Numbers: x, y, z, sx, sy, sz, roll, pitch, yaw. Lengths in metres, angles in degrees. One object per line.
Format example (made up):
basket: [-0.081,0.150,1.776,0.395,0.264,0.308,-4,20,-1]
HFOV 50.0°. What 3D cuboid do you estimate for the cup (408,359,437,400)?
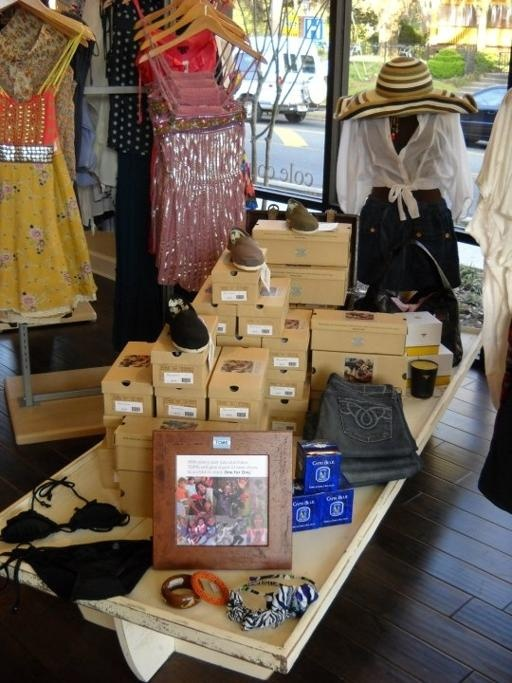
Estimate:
cup: [0.579,0.139,1.986,0.121,0.131,0.122,0,22,0]

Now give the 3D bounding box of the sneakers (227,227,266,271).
sneakers: [-0.042,-0.287,1.706,0.101,0.070,0.267,-2,30,4]

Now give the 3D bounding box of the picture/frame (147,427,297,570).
picture/frame: [-0.068,0.319,1.092,0.297,0.279,0.025,-1,-3,-5]

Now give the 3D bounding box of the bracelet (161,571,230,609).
bracelet: [-0.111,0.452,1.010,0.086,0.024,0.065,5,7,15]

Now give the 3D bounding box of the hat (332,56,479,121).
hat: [0.675,-1.140,2.470,0.612,0.223,0.484,2,30,10]

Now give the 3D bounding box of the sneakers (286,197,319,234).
sneakers: [0.170,-0.477,2.100,0.082,0.061,0.172,-14,33,-22]

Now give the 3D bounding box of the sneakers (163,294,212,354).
sneakers: [-0.155,-0.038,1.342,0.083,0.063,0.220,-2,21,-10]
